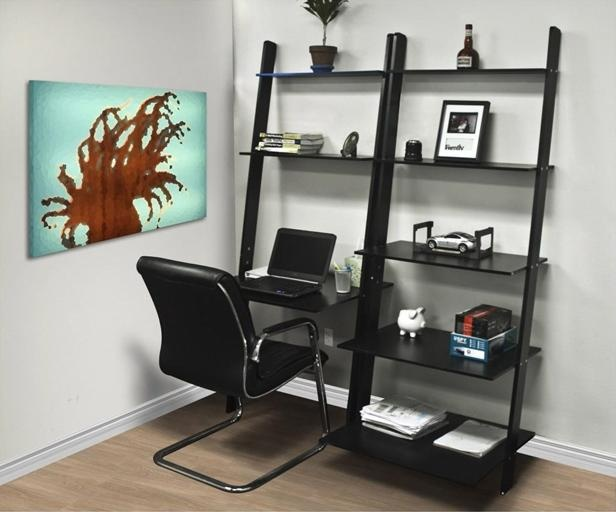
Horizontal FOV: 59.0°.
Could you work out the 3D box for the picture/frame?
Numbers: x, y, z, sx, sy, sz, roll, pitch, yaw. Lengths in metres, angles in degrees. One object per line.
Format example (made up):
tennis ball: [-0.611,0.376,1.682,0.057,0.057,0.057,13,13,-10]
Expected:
picture/frame: [0.826,-0.654,2.864,0.349,0.448,0.047,8,-6,25]

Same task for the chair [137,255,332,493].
chair: [-0.361,0.548,2.951,0.765,1.095,0.828,3,6,28]

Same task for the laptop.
laptop: [-0.112,0.041,3.252,0.493,0.287,0.477,14,23,43]

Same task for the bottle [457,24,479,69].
bottle: [0.832,-1.079,2.807,0.117,0.252,0.209,4,12,14]
